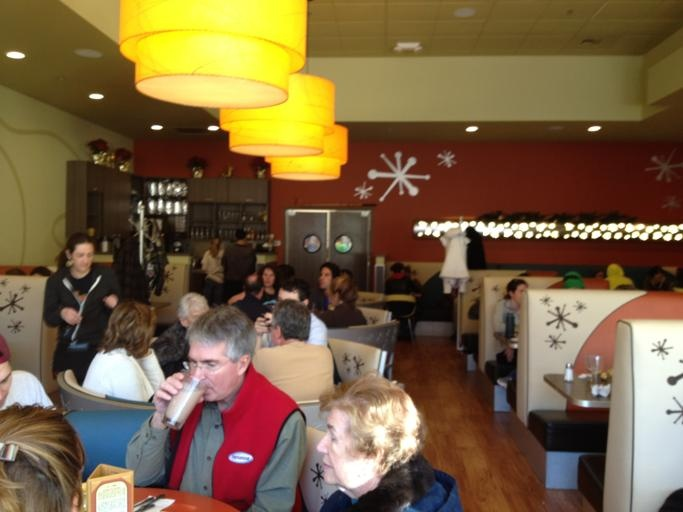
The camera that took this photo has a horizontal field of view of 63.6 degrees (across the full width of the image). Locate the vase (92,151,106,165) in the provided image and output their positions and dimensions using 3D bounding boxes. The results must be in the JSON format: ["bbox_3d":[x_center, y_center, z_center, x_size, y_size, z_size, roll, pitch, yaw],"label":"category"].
[{"bbox_3d":[-3.799,-1.541,8.724,0.240,0.242,0.247,2,7,-4],"label":"vase"}]

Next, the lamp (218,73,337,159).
[{"bbox_3d":[-0.380,-0.763,3.440,0.580,0.347,0.582,-1,4,-25],"label":"lamp"}]

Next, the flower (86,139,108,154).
[{"bbox_3d":[-3.846,-1.726,8.639,0.316,0.251,0.269,3,2,-10],"label":"flower"}]

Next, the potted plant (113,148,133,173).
[{"bbox_3d":[-3.649,-1.592,9.227,0.229,0.364,0.373,4,2,16],"label":"potted plant"}]

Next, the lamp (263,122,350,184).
[{"bbox_3d":[-0.196,-0.788,4.579,0.524,0.276,0.548,1,5,12],"label":"lamp"}]

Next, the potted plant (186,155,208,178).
[{"bbox_3d":[-2.598,-1.642,10.000,0.374,0.395,0.386,5,37,-2],"label":"potted plant"}]

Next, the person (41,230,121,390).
[{"bbox_3d":[-1.954,0.374,4.084,0.542,1.085,0.525,3,2,-11],"label":"person"}]
